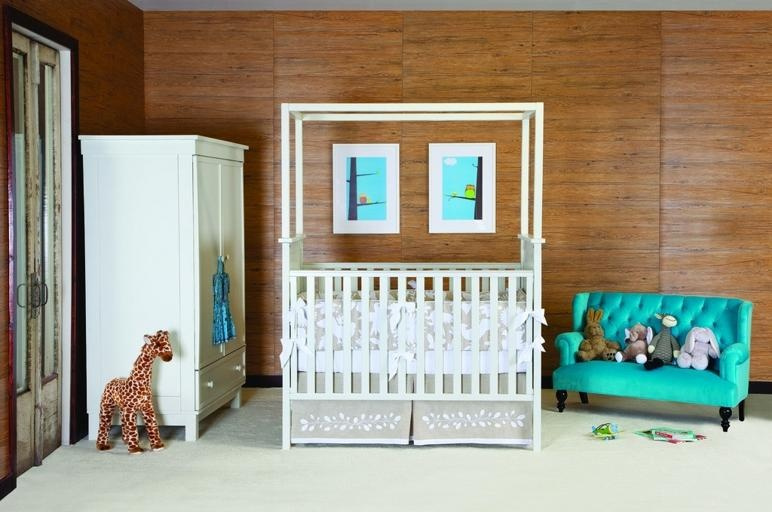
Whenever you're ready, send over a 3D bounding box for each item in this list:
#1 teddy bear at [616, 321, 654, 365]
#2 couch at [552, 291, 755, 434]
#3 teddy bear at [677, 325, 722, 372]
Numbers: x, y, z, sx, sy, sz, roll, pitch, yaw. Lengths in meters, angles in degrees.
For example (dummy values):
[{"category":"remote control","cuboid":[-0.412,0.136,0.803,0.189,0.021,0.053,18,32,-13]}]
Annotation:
[{"category":"teddy bear","cuboid":[2.123,0.748,6.123,0.407,0.356,0.364,0,-4,7]},{"category":"couch","cuboid":[2.366,0.808,6.331,2.407,1.221,1.141,-1,-9,24]},{"category":"teddy bear","cuboid":[2.603,0.758,5.986,0.361,0.325,0.300,-5,11,-43]}]
